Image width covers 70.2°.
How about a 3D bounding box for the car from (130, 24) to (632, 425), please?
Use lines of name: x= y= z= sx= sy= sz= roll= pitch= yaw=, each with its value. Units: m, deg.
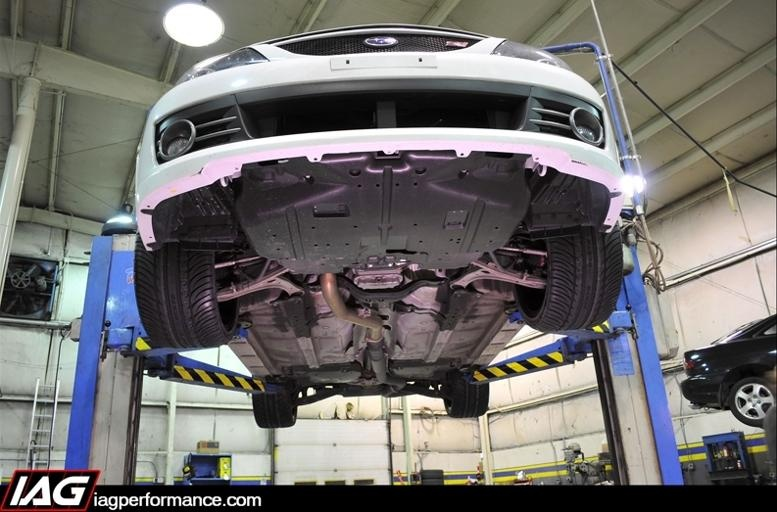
car: x=-0.179 y=-0.193 z=4.599 sx=3.314 sy=1.763 sz=3.372 roll=2 pitch=-22 yaw=-11
